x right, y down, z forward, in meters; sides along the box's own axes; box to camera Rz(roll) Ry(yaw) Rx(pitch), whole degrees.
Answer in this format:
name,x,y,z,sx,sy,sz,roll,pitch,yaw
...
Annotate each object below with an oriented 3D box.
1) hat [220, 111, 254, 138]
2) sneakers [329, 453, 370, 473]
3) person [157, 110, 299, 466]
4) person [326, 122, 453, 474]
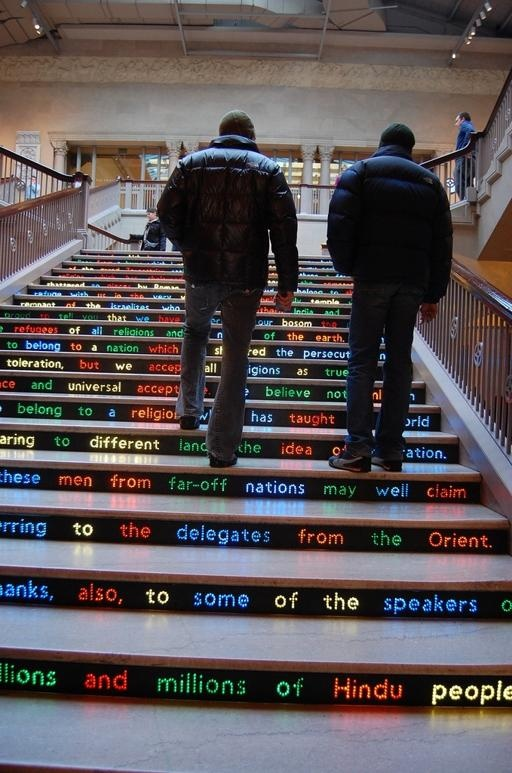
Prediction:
name,x,y,z,sx,sy,sz,roll,pitch,yaw
hat,-0.081,-1.194,2.958,0.117,0.162,0.157,2,21,5
sneakers,0.435,0.353,2.986,0.192,0.096,0.071,6,4,32
person,-0.134,-0.452,3.016,0.643,1.611,0.406,4,6,3
person,0.616,-0.327,3.014,0.634,1.432,0.267,0,7,-31
